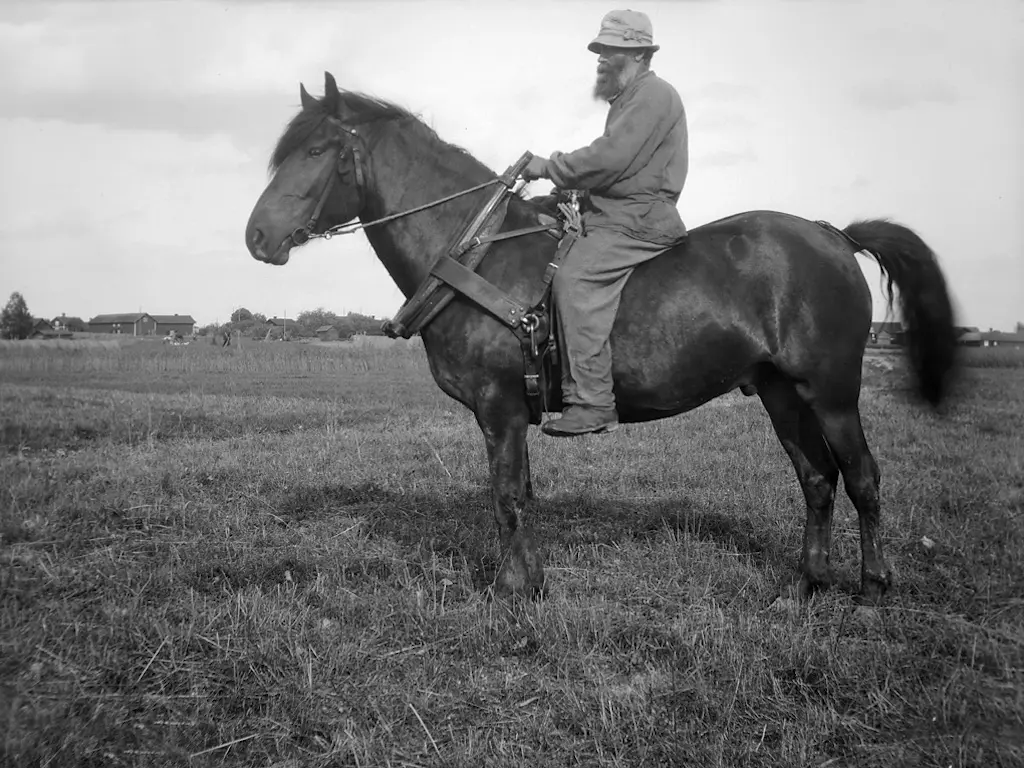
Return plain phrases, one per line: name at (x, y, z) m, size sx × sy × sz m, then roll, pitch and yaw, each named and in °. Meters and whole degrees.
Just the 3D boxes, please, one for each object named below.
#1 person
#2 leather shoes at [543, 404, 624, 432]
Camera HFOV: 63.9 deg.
person at (0.694, -1.130, 5.780) m, size 1.061 × 2.966 × 0.569 m, roll -6°, pitch 12°, yaw -32°
leather shoes at (0.498, 0.285, 5.776) m, size 0.457 × 0.240 × 0.214 m, roll 0°, pitch -3°, yaw -6°
